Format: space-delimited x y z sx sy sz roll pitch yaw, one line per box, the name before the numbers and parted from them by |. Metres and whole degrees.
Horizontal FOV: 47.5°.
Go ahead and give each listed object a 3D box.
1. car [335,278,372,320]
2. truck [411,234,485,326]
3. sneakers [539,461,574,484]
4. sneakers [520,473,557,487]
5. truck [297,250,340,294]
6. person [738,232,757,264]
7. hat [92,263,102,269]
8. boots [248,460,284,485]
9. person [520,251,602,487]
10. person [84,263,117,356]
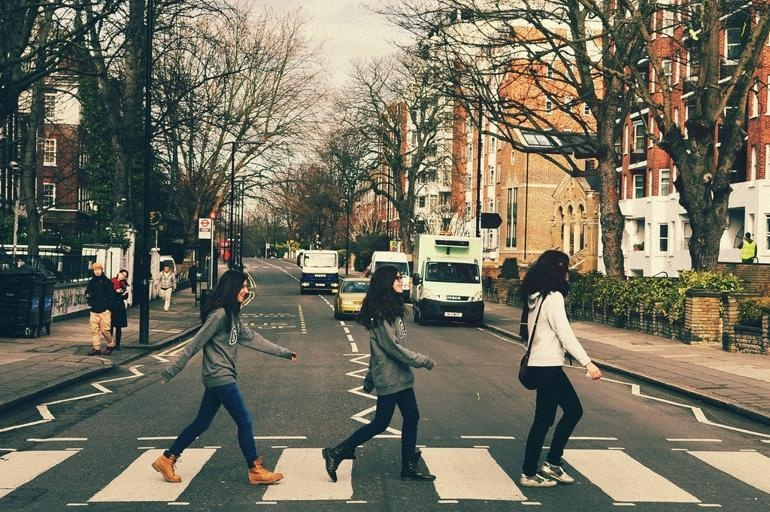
car | -1.457 1.748 36.185 1.180 1.077 2.684 0 -3 -5
truck | 2.545 1.005 34.644 1.939 2.337 4.307 1 -4 2
sneakers | 2.898 3.661 14.775 0.554 0.273 0.276 15 15 10
sneakers | 2.537 3.759 14.609 0.594 0.258 0.229 0 8 -4
truck | -4.249 1.108 56.550 1.785 1.946 3.216 1 -4 -7
person | 15.774 -0.330 38.204 0.544 1.393 1.970 0 -2 21
hat | -7.789 0.273 23.766 0.259 0.168 0.268 -1 -3 -11
boots | -1.996 3.613 14.738 0.671 0.487 0.275 -1 7 -7
person | 2.790 1.876 14.754 1.030 3.951 0.619 0 -1 9
person | -7.759 1.455 23.984 0.695 2.474 0.635 1 -2 -25
